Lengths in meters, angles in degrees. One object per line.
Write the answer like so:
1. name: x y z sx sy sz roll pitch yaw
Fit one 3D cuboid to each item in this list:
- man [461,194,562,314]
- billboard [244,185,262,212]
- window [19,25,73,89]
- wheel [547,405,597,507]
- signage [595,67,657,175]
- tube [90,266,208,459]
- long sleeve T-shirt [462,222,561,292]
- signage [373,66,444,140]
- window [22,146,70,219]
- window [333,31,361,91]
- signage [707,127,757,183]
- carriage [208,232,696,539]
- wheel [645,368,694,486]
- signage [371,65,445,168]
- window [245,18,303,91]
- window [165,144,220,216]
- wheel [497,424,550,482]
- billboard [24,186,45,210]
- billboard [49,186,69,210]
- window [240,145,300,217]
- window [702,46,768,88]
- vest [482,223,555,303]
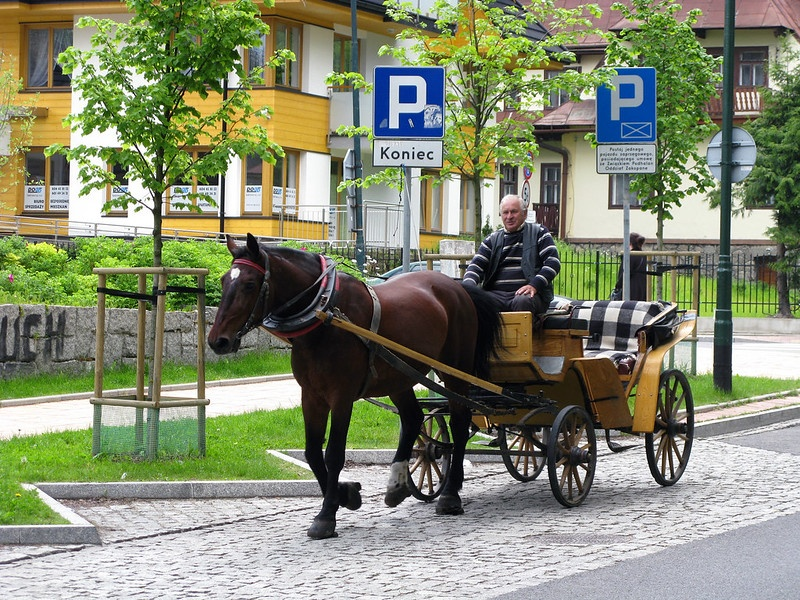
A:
1. man: 1.220 -0.285 14.887 1.154 1.768 0.961 -5 3 -21
2. billboard: -4.231 -2.941 36.951 0.726 1.027 0.112 0 -2 -4
3. window: -10.566 -7.330 38.864 1.725 2.120 0.156 2 3 6
4. wheel: 1.901 1.712 14.159 0.412 1.120 1.093 -2 -6 35
5. signage: 3.123 -2.443 17.760 0.847 1.525 0.016 0 -3 4
6. tube: -3.263 0.602 15.485 1.255 2.132 1.342 6 7 30
7. long sleeve T-shirt: 1.321 -0.489 15.020 1.035 1.030 0.840 1 -8 19
8. signage: 0.087 -2.366 15.738 0.850 0.859 0.086 2 -12 -9
9. window: -10.763 -3.553 39.243 1.655 2.027 0.125 1 -5 11
10. window: -1.510 -7.401 39.342 0.084 1.772 1.499 -13 15 17
11. signage: 5.321 -2.356 20.806 0.709 0.898 1.020 0 -1 13
12. carriage: 0.661 0.941 14.488 6.179 2.792 2.565 1 -3 -39
13. wheel: 3.183 1.507 15.235 0.415 1.392 1.359 3 -2 34
14. signage: 0.093 -2.224 15.734 1.159 1.574 0.067 1 -4 -7
15. window: -3.620 -7.019 37.033 1.224 1.856 1.608 0 0 18
16. window: -4.703 -2.705 29.432 1.299 1.581 0.110 0 -7 -1
17. wheel: 1.444 1.776 14.990 0.734 0.877 0.215 -2 0 -32
18. billboard: -11.160 -3.147 39.282 0.667 0.726 0.076 2 8 11
19. billboard: -10.337 -3.087 39.001 0.718 0.754 0.071 -2 1 41
20. window: -3.738 -3.373 37.115 1.650 1.685 0.929 0 0 -10
21. window: 12.522 -8.668 48.889 2.142 1.930 0.157 3 -14 8
22. vest: 1.323 -0.537 15.018 0.900 0.638 1.019 -1 -38 2
